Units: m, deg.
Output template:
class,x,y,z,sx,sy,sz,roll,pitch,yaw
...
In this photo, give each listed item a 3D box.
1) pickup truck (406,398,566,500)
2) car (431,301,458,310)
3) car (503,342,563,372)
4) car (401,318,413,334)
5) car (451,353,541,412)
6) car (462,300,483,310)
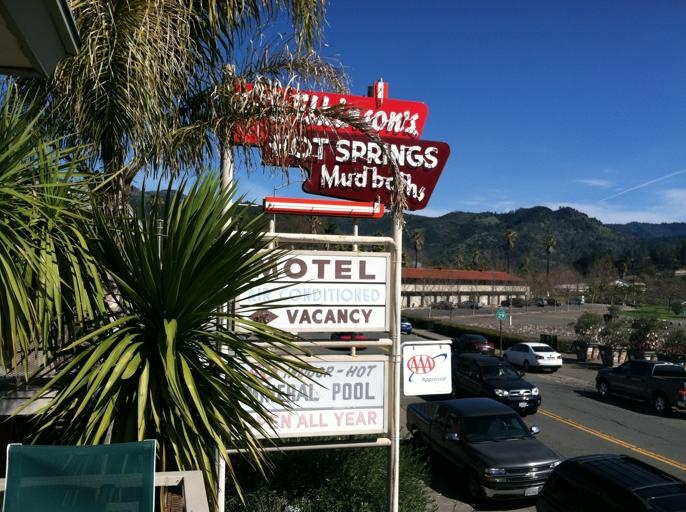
class,x,y,z,sx,sy,sz,roll,pitch,yaw
pickup truck,3.029,4.289,15.126,1.776,1.833,4.733,3,0,-17
car,12.871,6.331,83.148,1.652,0.956,2.550,4,-3,-44
car,8.299,4.438,29.014,1.031,0.934,2.473,1,0,-9
car,4.544,5.115,47.002,0.803,0.723,1.942,0,1,8
car,4.802,4.036,21.006,1.245,1.287,3.126,1,-9,-20
car,16.335,6.303,83.142,2.898,1.099,1.713,3,0,44
